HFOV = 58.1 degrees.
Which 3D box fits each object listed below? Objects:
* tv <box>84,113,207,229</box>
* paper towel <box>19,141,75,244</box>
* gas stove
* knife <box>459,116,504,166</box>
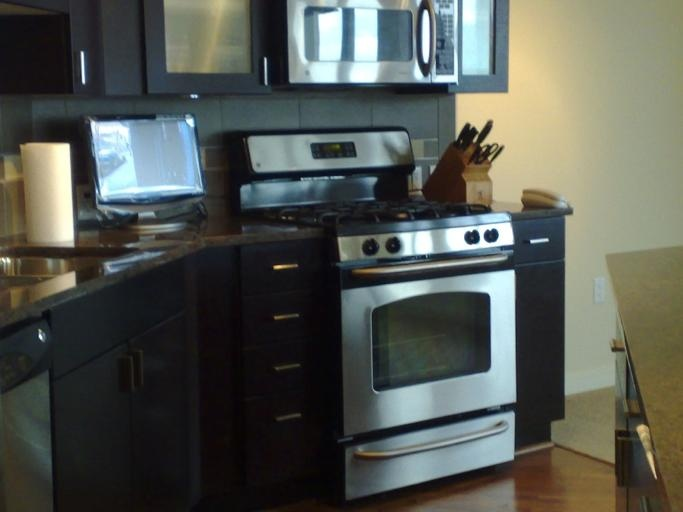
[{"bbox_3d":[-0.771,-0.325,2.357,0.423,0.415,0.216,-3,-3,-43],"label":"tv"},{"bbox_3d":[-0.946,-0.198,1.983,0.151,0.313,0.212,-5,13,-25],"label":"paper towel"},{"bbox_3d":[0.193,-0.121,2.519,1.030,0.174,0.519,-3,13,-14],"label":"gas stove"},{"bbox_3d":[0.663,-0.560,2.949,0.047,0.209,0.405,-42,10,-10],"label":"knife"}]
